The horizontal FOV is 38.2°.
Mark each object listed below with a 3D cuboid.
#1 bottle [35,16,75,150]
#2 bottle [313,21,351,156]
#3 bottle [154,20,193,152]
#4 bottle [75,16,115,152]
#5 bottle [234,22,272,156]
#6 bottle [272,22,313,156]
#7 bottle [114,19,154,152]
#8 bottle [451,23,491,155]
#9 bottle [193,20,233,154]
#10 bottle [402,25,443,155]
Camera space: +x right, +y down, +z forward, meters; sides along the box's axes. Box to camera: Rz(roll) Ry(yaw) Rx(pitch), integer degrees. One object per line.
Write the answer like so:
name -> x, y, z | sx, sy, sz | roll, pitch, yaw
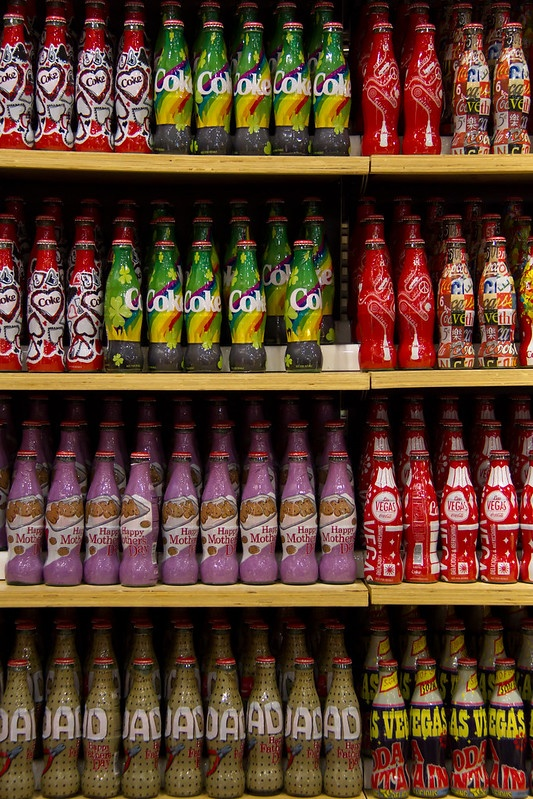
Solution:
bottle -> -0.429, -0.641, 1.557 | 0.074, 0.232, 0.117 | -1, 27, -13
bottle -> 0.144, -0.662, 1.626 | 0.088, 0.236, 0.221 | 6, 29, 2
bottle -> -0.188, -0.641, 1.578 | 0.074, 0.232, 0.131 | 1, 27, -8
bottle -> -0.350, -0.640, 1.565 | 0.074, 0.234, 0.107 | -1, 27, -13
bottle -> -0.024, -0.640, 1.587 | 0.075, 0.233, 0.123 | 3, 26, -4
bottle -> 0.055, -0.639, 1.589 | 0.079, 0.236, 0.124 | 3, 26, -4
bottle -> -0.271, -0.643, 1.579 | 0.075, 0.234, 0.133 | 0, 27, -11
bottle -> 0.439, -0.649, 1.619 | 0.084, 0.238, 0.118 | 7, 26, 4
bottle -> -0.108, -0.640, 1.583 | 0.076, 0.232, 0.139 | 2, 27, -7
bottle -> 0.333, -0.643, 1.602 | 0.099, 0.239, 0.154 | 11, 27, 12
